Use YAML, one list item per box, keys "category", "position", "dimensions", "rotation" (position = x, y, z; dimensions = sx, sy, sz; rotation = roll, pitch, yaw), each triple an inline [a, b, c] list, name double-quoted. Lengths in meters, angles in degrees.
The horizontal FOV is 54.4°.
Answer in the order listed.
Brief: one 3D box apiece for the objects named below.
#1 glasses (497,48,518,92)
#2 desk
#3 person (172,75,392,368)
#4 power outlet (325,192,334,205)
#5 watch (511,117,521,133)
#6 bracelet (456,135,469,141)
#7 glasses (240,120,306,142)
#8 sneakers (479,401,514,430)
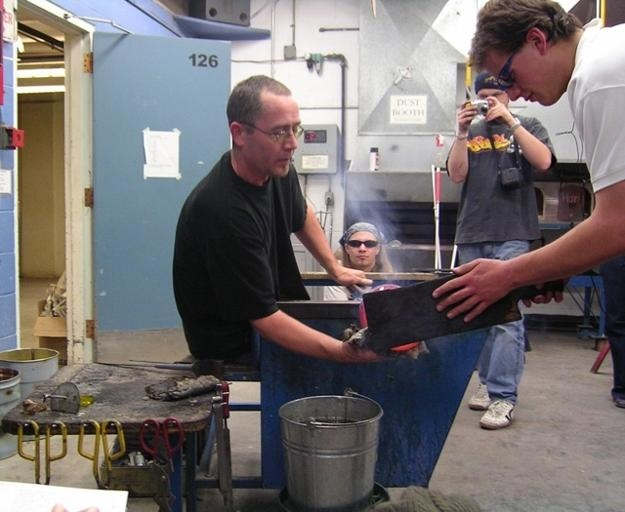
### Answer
- category: "glasses"
  position: [0.654, -0.608, 2.047]
  dimensions: [0.024, 0.082, 0.079]
  rotation: [25, -2, 30]
- category: "desk"
  position: [-0.641, 0.530, 2.170]
  dimensions: [0.632, 0.434, 0.599]
  rotation: [1, 5, 7]
- category: "person"
  position: [-0.268, -0.139, 2.541]
  dimensions: [0.632, 1.219, 0.862]
  rotation: [-2, 6, -14]
- category: "power outlet"
  position: [0.178, -0.607, 6.499]
  dimensions: [0.110, 0.222, 0.114]
  rotation: [-1, -1, -1]
- category: "watch"
  position: [1.130, -0.729, 3.390]
  dimensions: [0.058, 0.089, 0.026]
  rotation: [12, -3, -16]
- category: "bracelet"
  position: [0.864, -0.687, 3.518]
  dimensions: [0.047, 0.053, 0.046]
  rotation: [-14, 22, -41]
- category: "glasses"
  position: [-0.164, -0.504, 2.461]
  dimensions: [0.222, 0.078, 0.076]
  rotation: [-3, 6, -16]
- category: "sneakers"
  position: [1.024, 0.878, 3.367]
  dimensions: [0.134, 0.129, 0.228]
  rotation: [3, 8, 35]
